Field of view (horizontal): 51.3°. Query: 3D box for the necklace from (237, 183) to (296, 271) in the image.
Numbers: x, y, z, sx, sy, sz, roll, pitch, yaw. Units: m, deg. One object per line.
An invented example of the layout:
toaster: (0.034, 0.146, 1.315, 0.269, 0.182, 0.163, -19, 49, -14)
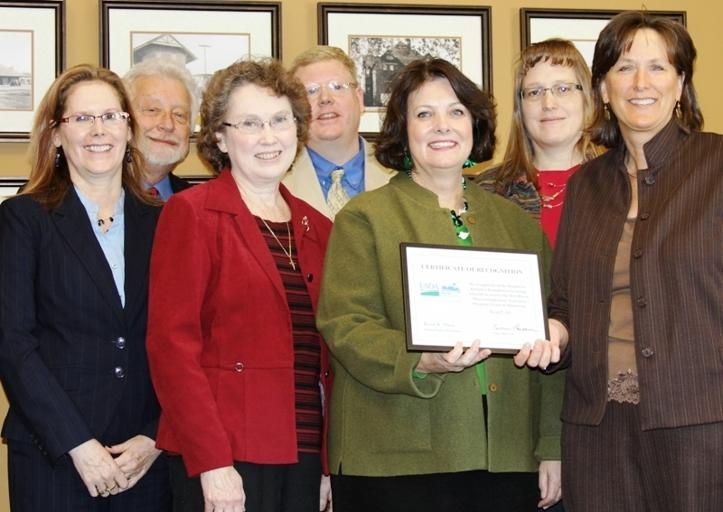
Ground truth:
necklace: (-0.325, -0.106, 2.801, 0.240, 0.276, 0.004, -5, -5, 25)

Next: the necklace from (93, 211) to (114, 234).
necklace: (-0.962, -0.132, 2.821, 0.074, 0.079, 0.023, 13, -6, -34)

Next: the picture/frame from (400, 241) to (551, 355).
picture/frame: (0.371, 0.151, 2.508, 0.365, 0.261, 0.017, 6, -22, -18)
